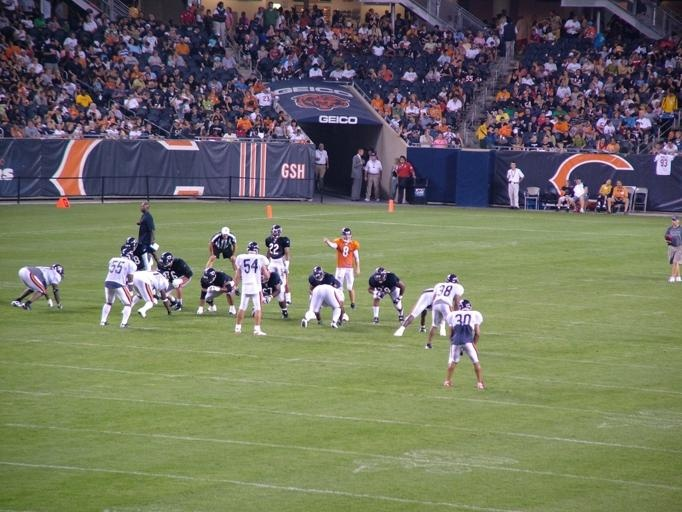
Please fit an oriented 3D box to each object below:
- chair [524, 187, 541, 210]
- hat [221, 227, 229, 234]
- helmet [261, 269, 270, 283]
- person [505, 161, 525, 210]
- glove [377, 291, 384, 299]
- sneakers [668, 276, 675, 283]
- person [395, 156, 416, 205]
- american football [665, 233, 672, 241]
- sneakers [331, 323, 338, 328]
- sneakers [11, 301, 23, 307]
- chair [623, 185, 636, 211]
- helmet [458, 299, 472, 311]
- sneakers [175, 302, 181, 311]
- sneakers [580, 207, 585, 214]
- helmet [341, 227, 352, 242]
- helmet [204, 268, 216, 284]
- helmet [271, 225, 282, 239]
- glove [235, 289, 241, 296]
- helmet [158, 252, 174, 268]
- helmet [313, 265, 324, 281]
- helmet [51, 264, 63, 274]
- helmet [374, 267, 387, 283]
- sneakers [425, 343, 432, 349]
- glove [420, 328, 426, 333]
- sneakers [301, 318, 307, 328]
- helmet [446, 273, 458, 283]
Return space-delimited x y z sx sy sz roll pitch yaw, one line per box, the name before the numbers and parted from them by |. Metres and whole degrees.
chair | 9.785 -2.914 62.380 0.736 1.150 0.748 3 15 8
hat | -3.340 -0.716 36.102 0.276 0.195 0.359 3 14 -14
helmet | -1.992 0.545 32.952 0.283 0.289 0.337 5 -41 -1
person | 8.911 -3.575 62.714 0.817 2.503 1.534 3 15 7
glove | 1.163 1.111 34.661 0.170 0.204 0.217 -4 -4 -25
sneakers | 10.907 0.790 40.425 0.213 0.215 0.552 -1 0 18
person | 3.478 -4.036 65.364 1.037 2.556 1.001 1 15 2
american football | 10.624 -0.583 39.695 0.140 0.181 0.080 -23 -4 17
sneakers | -0.150 1.944 34.248 0.117 0.142 0.150 26 22 -11
sneakers | -9.243 1.371 35.086 0.179 0.150 0.374 -5 8 -36
chair | 14.202 -2.749 60.264 0.485 1.320 0.797 4 15 11
helmet | 2.991 1.180 29.328 0.246 0.282 0.302 2 0 3
sneakers | -4.683 1.513 35.892 0.147 0.207 0.233 1 -3 18
sneakers | 12.000 -2.272 60.934 0.228 0.094 0.300 -2 25 6
helmet | 0.208 -0.612 35.880 0.222 0.439 0.422 -1 14 -6
helmet | -3.735 0.501 34.718 0.328 0.372 0.371 6 -27 11
helmet | -1.880 -0.735 36.602 0.371 0.382 0.454 8 22 -2
glove | -3.122 1.128 37.580 0.126 0.270 0.219 0 -24 4
helmet | -5.006 0.133 35.296 0.373 0.382 0.471 6 41 15
helmet | -0.600 0.430 33.752 0.338 0.376 0.320 -2 -35 3
helmet | -7.994 0.352 34.987 0.337 0.248 0.315 13 -20 -22
helmet | 1.114 0.460 34.023 0.319 0.347 0.357 -1 -39 -1
sneakers | 2.321 2.416 32.506 0.206 0.228 0.142 -2 -4 -30
glove | 2.316 2.104 34.244 0.136 0.113 0.128 -1 11 0
sneakers | -0.992 1.928 34.071 0.122 0.136 0.304 5 -42 2
helmet | 2.947 0.564 31.662 0.229 0.272 0.294 10 -9 -42
